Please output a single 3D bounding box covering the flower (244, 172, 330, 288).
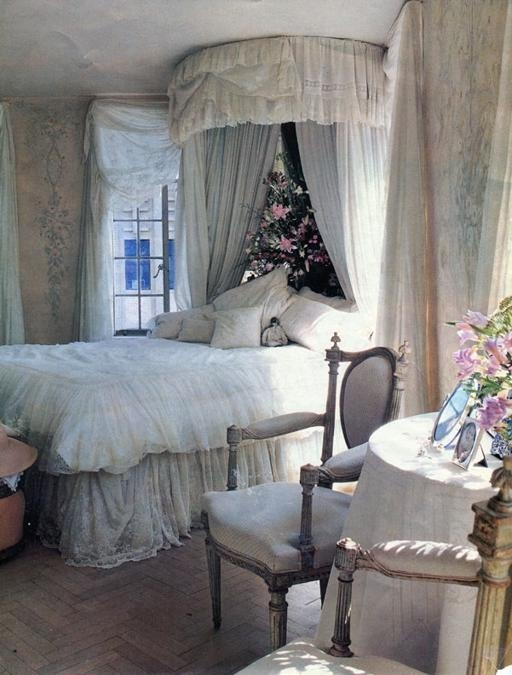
[{"bbox_3d":[0.245,-0.757,4.247,0.334,0.784,0.791,-10,24,-42],"label":"flower"}]

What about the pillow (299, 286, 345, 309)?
[{"bbox_3d":[0.462,-0.270,3.990,0.112,0.124,0.367,-15,24,-37],"label":"pillow"}]
